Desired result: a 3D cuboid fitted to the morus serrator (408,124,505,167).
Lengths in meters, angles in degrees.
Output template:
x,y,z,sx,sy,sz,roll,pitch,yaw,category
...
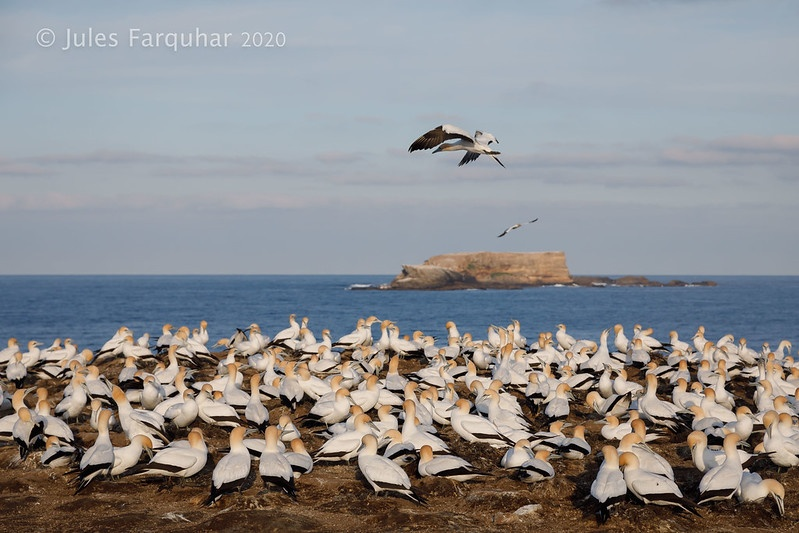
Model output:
x,y,z,sx,sy,sz,roll,pitch,yaw,category
2.023,-3.884,45.500,2.787,0.670,1.944,3,-15,45,morus serrator
